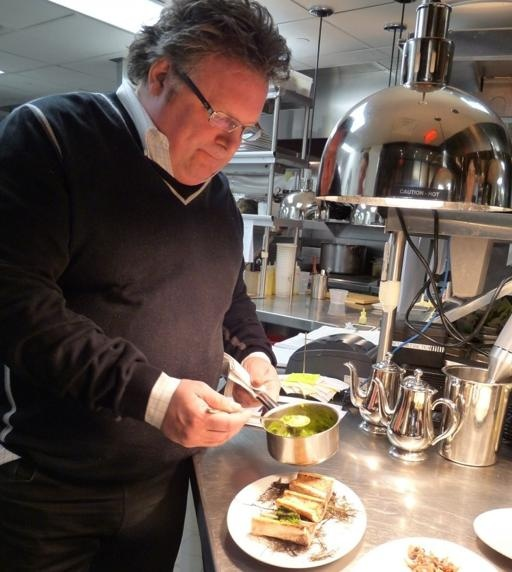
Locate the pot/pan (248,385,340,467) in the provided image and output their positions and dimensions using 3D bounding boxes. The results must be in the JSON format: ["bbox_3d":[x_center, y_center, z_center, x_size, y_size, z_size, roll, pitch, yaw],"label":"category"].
[{"bbox_3d":[0.091,0.328,1.020,0.139,0.122,0.156,8,9,42],"label":"pot/pan"}]

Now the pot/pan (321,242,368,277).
[{"bbox_3d":[0.917,-0.287,4.955,0.432,0.234,0.410,5,6,43],"label":"pot/pan"}]

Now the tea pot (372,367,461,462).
[{"bbox_3d":[0.382,0.310,1.221,0.261,0.213,0.157,7,8,34],"label":"tea pot"}]

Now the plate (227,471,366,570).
[{"bbox_3d":[0.076,0.438,0.897,0.255,0.054,0.257,3,6,15],"label":"plate"}]

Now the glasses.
[{"bbox_3d":[-0.096,-0.429,1.080,0.045,0.138,0.143,-38,-19,23],"label":"glasses"}]

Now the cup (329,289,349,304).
[{"bbox_3d":[0.645,0.082,3.696,0.133,0.075,0.120,1,3,15],"label":"cup"}]

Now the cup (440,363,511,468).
[{"bbox_3d":[0.513,0.324,1.120,0.139,0.215,0.072,4,7,19],"label":"cup"}]

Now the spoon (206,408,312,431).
[{"bbox_3d":[0.010,0.278,0.990,0.051,0.052,0.300,-30,-31,27],"label":"spoon"}]

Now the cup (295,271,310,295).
[{"bbox_3d":[0.417,-0.030,4.296,0.214,0.202,0.195,1,-4,0],"label":"cup"}]

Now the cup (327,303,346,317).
[{"bbox_3d":[0.591,0.177,3.485,0.103,0.094,0.095,1,-12,0],"label":"cup"}]

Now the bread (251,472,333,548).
[{"bbox_3d":[0.072,0.418,0.890,0.076,0.026,0.123,-1,11,26],"label":"bread"}]
